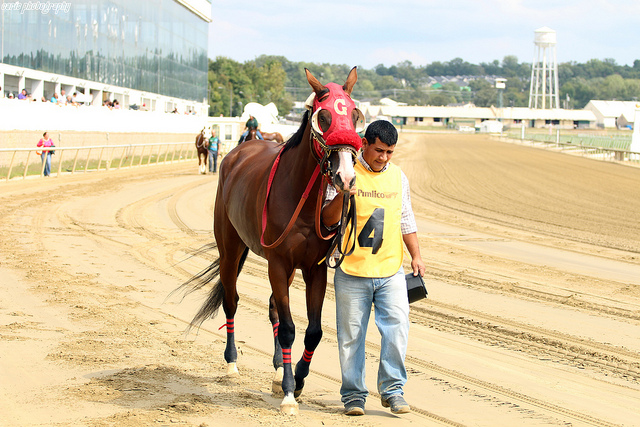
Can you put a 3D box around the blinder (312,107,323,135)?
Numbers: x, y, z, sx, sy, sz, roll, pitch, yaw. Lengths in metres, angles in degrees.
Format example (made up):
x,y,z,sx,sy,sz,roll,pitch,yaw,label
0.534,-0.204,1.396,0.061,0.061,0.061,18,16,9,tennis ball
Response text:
x,y,z,sx,sy,sz,roll,pitch,yaw,label
-0.065,-1.211,10.907,0.098,0.304,0.216,9,6,31,blinder

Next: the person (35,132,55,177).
x,y,z,sx,sy,sz,roll,pitch,yaw,label
-8.956,-1.978,27.199,0.526,1.415,1.143,2,10,-7,person

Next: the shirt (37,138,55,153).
x,y,z,sx,sy,sz,roll,pitch,yaw,label
-9.012,-2.274,27.325,0.412,0.384,0.591,0,12,-20,shirt

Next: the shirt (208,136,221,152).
x,y,z,sx,sy,sz,roll,pitch,yaw,label
-3.915,-2.632,30.861,0.670,0.701,0.393,0,-1,1,shirt

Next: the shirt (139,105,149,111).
x,y,z,sx,sy,sz,roll,pitch,yaw,label
-10.351,-6.218,48.671,0.724,0.334,0.240,5,13,45,shirt

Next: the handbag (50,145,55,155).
x,y,z,sx,sy,sz,roll,pitch,yaw,label
-8.776,-2.121,27.344,0.219,0.316,0.103,3,-4,-22,handbag

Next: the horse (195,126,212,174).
x,y,z,sx,sy,sz,roll,pitch,yaw,label
-4.593,-2.493,32.454,0.511,1.714,2.388,2,7,-16,horse

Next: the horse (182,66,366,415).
x,y,z,sx,sy,sz,roll,pitch,yaw,label
-0.587,0.246,11.723,1.273,4.509,2.581,-3,12,-34,horse
